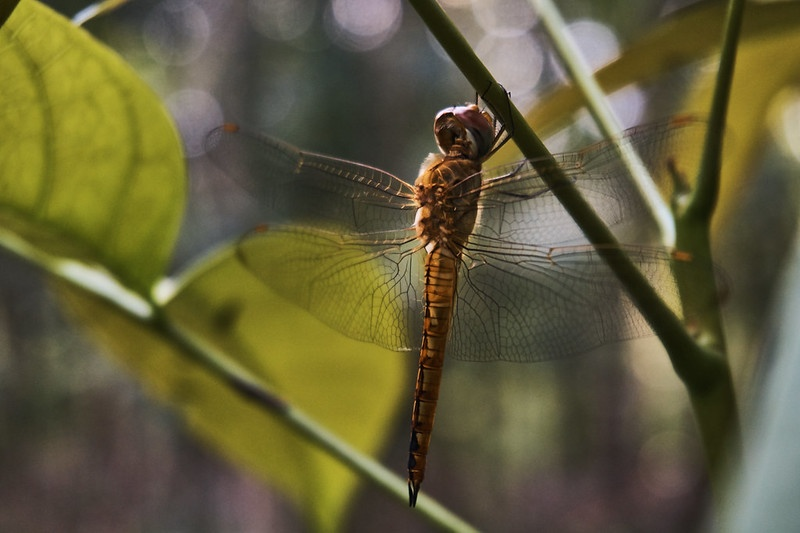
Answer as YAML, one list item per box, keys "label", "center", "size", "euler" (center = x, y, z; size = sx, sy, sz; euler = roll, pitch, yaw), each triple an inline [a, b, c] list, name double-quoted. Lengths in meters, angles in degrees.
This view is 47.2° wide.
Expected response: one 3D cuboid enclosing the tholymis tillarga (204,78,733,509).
- label: "tholymis tillarga"
  center: [0.026, 0.013, 1.016]
  size: [0.587, 0.113, 0.477]
  euler: [5, 52, 18]
